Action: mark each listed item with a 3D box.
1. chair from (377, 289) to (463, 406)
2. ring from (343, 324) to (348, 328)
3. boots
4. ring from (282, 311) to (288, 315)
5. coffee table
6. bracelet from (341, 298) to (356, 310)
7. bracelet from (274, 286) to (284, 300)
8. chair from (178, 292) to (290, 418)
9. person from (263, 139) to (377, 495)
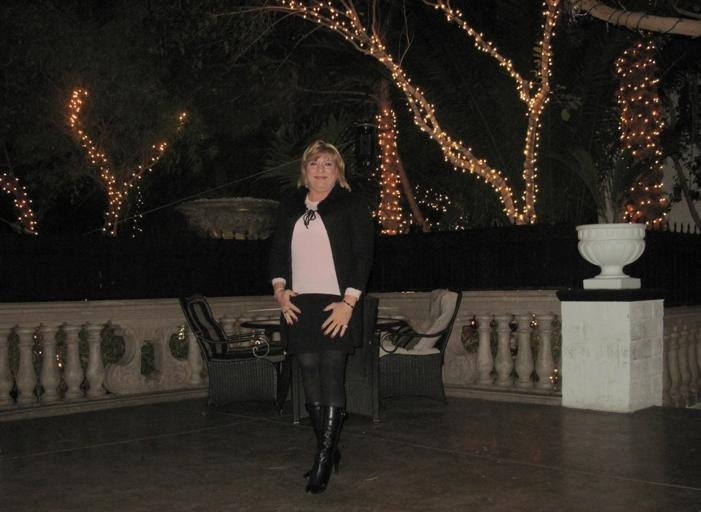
[{"bbox_3d":[0.791,1.078,8.586,1.046,1.343,0.899,0,0,1],"label":"chair"},{"bbox_3d":[-0.026,0.584,5.620,0.011,0.041,0.052,1,4,37],"label":"ring"},{"bbox_3d":[-0.232,1.561,5.645,0.299,0.633,0.545,0,3,18],"label":"boots"},{"bbox_3d":[-0.539,0.486,5.720,0.037,0.026,0.036,-3,-10,0],"label":"ring"},{"bbox_3d":[-0.198,1.223,7.885,1.871,1.309,1.926,-2,-18,11],"label":"coffee table"},{"bbox_3d":[-0.001,0.398,5.623,0.131,0.084,0.084,-2,3,-9],"label":"bracelet"},{"bbox_3d":[-0.591,0.320,5.757,0.070,0.098,0.037,2,-1,7],"label":"bracelet"},{"bbox_3d":[-1.370,1.137,8.461,1.240,1.255,0.902,-3,1,-9],"label":"chair"},{"bbox_3d":[-0.239,0.444,5.725,0.872,2.855,0.751,-1,3,6],"label":"person"}]
